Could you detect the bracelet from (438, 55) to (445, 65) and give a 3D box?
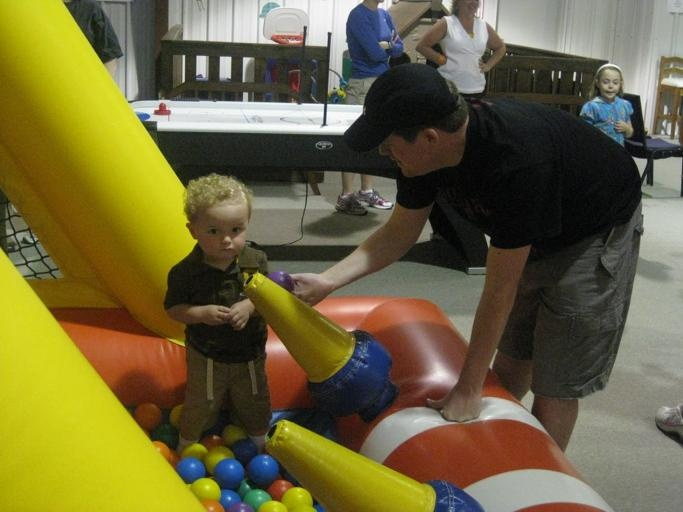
[{"bbox_3d":[0.819,-1.586,4.728,0.060,0.064,0.020,-14,22,-9],"label":"bracelet"}]

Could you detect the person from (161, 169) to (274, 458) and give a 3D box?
[{"bbox_3d":[-0.430,0.226,2.069,0.356,1.021,0.380,8,21,12],"label":"person"}]

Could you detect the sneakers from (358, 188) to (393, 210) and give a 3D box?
[{"bbox_3d":[0.308,-0.521,5.605,0.350,0.165,0.157,14,28,-2],"label":"sneakers"}]

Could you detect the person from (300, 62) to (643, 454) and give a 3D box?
[{"bbox_3d":[0.431,0.172,1.965,1.033,1.624,0.678,-8,18,-6],"label":"person"}]

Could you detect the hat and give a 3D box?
[{"bbox_3d":[0.158,-0.394,1.564,0.289,0.225,0.150,-1,21,-10],"label":"hat"}]
